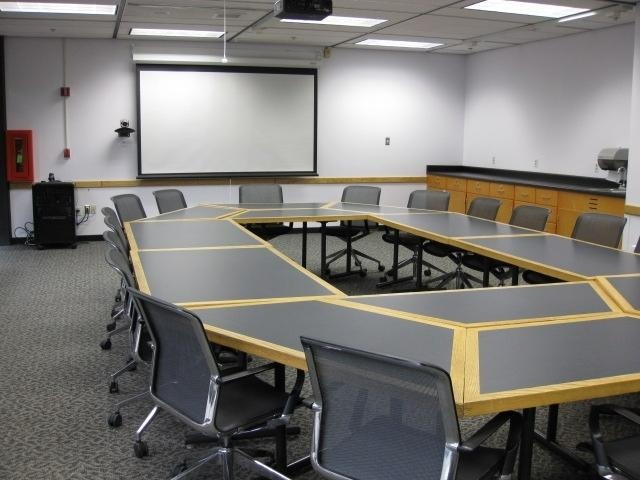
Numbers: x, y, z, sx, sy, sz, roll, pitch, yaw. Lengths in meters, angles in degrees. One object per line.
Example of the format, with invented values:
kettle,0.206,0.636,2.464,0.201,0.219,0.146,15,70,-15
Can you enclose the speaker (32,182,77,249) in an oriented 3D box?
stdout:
speaker,-4.084,-0.379,7.073,0.605,0.974,0.184,-1,15,-6

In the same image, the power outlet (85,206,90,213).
power outlet,-3.787,-0.493,7.503,0.101,0.146,0.027,1,15,2
